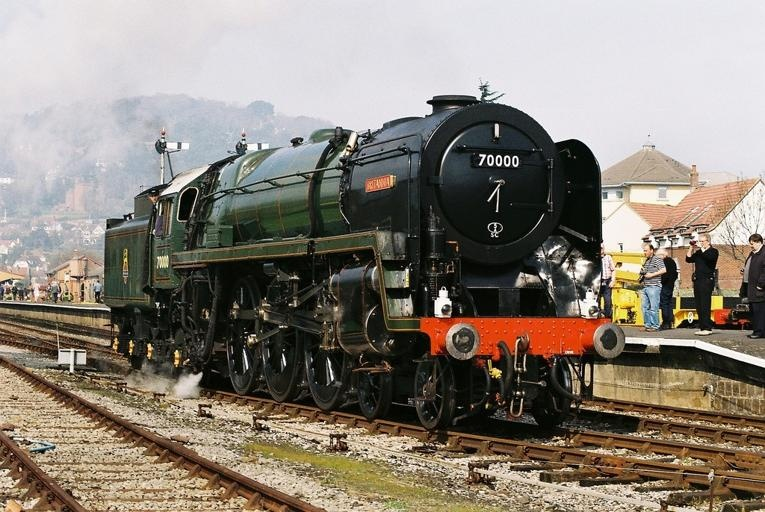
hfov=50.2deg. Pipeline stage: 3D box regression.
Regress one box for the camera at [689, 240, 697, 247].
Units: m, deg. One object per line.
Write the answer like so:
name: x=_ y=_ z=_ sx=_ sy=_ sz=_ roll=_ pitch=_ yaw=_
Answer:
camera: x=6.527 y=-0.244 z=17.070 sx=0.092 sy=0.122 sz=0.124 roll=6 pitch=34 yaw=-7

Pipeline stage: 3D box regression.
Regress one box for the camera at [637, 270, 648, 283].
camera: x=6.089 y=0.507 z=18.984 sx=0.111 sy=0.289 sz=0.211 roll=8 pitch=-3 yaw=-8

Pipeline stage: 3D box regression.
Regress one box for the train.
train: x=-1.671 y=0.112 z=17.844 sx=4.643 sy=6.207 sz=15.043 roll=5 pitch=-8 yaw=-36

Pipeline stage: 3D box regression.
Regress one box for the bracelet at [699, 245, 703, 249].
bracelet: x=6.640 y=-0.141 z=16.919 sx=0.028 sy=0.068 sz=0.091 roll=3 pitch=-7 yaw=-28

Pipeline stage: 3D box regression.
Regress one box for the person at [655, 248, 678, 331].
person: x=6.701 y=0.801 z=19.078 sx=0.413 sy=1.844 sz=1.568 roll=-2 pitch=-6 yaw=19
